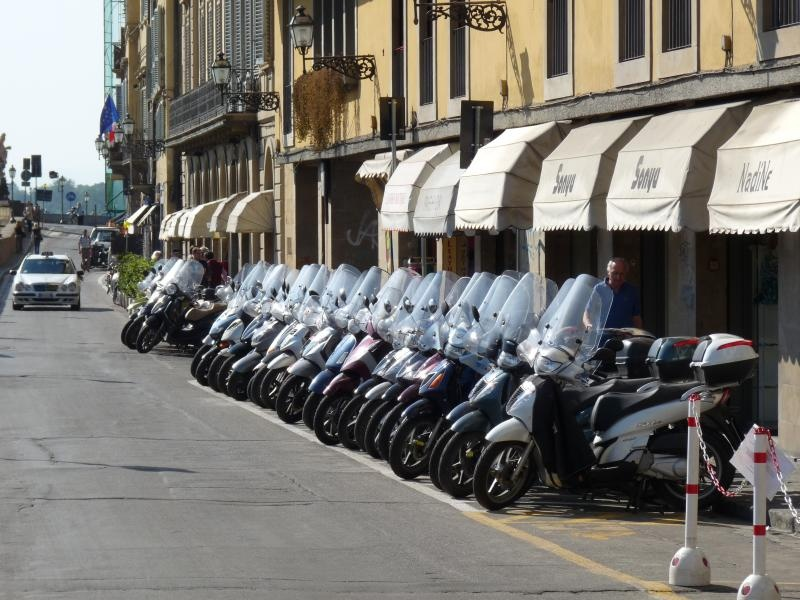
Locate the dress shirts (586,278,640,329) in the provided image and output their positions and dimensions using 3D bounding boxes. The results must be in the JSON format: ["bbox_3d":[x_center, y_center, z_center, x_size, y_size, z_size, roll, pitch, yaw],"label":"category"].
[{"bbox_3d":[2.372,0.129,16.630,0.581,0.675,0.375,3,-6,1],"label":"dress shirts"}]

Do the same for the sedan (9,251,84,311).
[{"bbox_3d":[-9.692,-0.356,40.800,1.757,1.383,2.326,-1,4,-14],"label":"sedan"}]

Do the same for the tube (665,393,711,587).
[{"bbox_3d":[2.342,1.569,11.968,0.377,1.489,0.339,17,-21,-36],"label":"tube"}]
